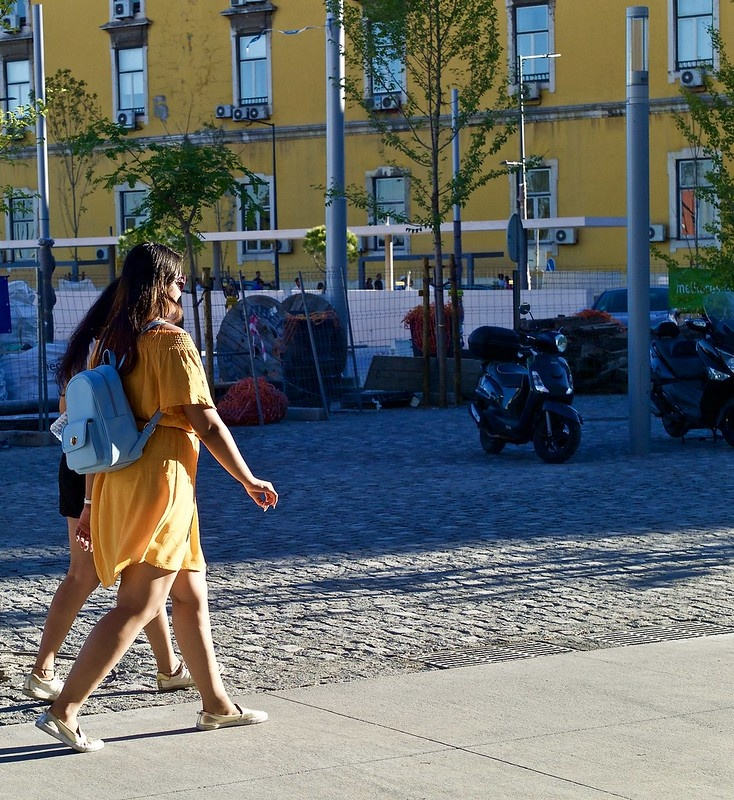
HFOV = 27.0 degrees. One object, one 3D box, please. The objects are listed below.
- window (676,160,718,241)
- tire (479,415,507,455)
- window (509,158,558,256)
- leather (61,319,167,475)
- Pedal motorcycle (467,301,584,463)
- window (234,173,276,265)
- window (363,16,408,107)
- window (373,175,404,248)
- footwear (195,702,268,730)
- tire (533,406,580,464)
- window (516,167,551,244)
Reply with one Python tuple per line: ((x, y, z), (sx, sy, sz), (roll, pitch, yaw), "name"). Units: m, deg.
((8.720, -5.293, 40.329), (0.955, 2.183, 0.157), (0, 25, 13), "window")
((1.089, 0.296, 13.110), (0.110, 0.324, 0.312), (-3, 8, -33), "tire")
((4.753, -5.354, 42.728), (1.209, 2.649, 1.114), (-2, 5, 7), "window")
((-0.788, 0.004, 4.733), (0.294, 0.486, 0.340), (1, -7, -29), "leather")
((1.338, -0.046, 12.779), (0.593, 1.130, 1.430), (-4, 6, -16), "Pedal motorcycle")
((-3.420, -5.755, 47.299), (1.221, 2.582, 0.250), (-4, 23, -8), "window")
((0.265, -4.667, 20.554), (0.595, 1.417, 0.071), (7, -30, -5), "window")
((0.727, -5.576, 45.276), (1.047, 2.216, 0.093), (-1, -6, -25), "window")
((-0.424, 1.010, 4.814), (0.212, 0.071, 0.078), (-2, 3, -20), "footwear")
((1.533, 0.293, 12.409), (0.207, 0.446, 0.587), (-6, 6, -28), "tire")
((4.748, -5.530, 42.878), (0.973, 2.034, 0.062), (-5, 7, -31), "window")
